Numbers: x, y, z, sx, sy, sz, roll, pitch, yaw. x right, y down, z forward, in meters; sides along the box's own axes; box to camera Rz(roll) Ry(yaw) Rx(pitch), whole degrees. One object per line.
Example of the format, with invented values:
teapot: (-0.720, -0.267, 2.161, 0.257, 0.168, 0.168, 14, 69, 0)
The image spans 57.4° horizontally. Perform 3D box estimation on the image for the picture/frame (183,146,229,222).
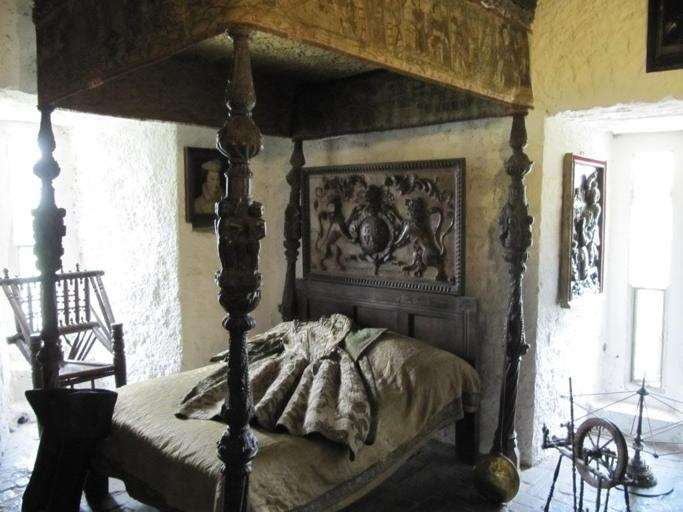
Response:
picture/frame: (-1.299, -0.653, 5.954, 0.422, 0.771, 0.183, -3, 6, -26)
